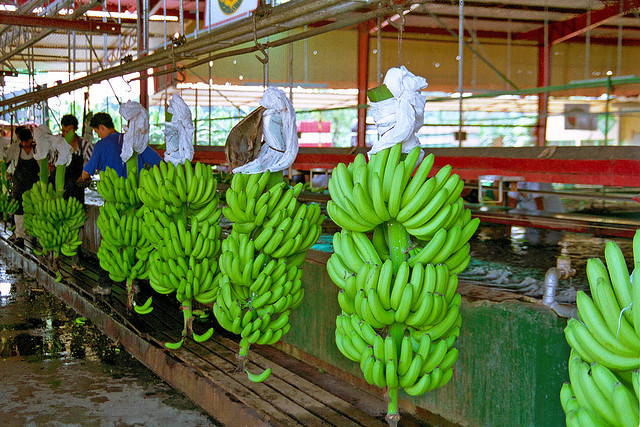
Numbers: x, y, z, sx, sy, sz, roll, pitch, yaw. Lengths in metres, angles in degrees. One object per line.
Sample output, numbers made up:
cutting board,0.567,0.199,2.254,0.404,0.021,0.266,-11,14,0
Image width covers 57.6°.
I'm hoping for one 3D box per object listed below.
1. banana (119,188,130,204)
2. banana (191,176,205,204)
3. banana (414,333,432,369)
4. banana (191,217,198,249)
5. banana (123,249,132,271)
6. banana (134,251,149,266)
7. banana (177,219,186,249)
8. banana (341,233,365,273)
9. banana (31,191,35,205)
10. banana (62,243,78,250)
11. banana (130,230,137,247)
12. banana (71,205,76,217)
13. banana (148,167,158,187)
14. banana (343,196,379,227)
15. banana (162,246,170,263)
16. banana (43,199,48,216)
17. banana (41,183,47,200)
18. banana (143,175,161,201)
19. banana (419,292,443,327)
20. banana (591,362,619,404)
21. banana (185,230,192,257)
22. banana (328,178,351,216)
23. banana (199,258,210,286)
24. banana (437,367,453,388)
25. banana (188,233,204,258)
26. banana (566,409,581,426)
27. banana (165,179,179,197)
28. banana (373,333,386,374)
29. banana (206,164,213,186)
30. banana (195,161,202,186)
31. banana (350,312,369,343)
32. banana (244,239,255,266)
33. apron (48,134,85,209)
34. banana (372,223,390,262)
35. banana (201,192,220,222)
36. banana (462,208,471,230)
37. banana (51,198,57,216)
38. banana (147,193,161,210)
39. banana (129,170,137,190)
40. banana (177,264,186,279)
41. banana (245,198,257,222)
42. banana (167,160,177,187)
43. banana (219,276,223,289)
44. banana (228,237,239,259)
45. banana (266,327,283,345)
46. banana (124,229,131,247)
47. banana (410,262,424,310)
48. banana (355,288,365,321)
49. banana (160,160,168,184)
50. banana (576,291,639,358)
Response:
banana,-2.182,-0.178,6.463,0.050,0.227,0.079,-12,32,7
banana,-1.191,-0.224,5.764,0.067,0.330,0.114,14,5,-23
banana,0.744,0.985,4.197,0.092,0.271,0.076,-6,33,-12
banana,-1.201,0.176,5.657,0.053,0.257,0.081,2,-7,2
banana,-2.137,0.518,6.442,0.057,0.221,0.059,-17,0,35
banana,-1.981,0.495,6.483,0.141,0.151,0.056,-1,9,-10
banana,-1.345,0.205,5.663,0.057,0.285,0.071,-7,-12,-26
banana,0.227,0.298,4.336,0.124,0.356,0.094,-15,-6,-19
banana,-4.365,-0.239,8.826,0.050,0.197,0.039,-18,-10,20
banana,-3.582,0.481,8.333,0.190,0.103,0.170,-4,9,-28
banana,-2.051,0.282,6.401,0.054,0.195,0.059,6,15,-3
banana,-3.497,-0.039,8.237,0.050,0.154,0.040,-11,42,-22
banana,-1.715,-0.378,5.925,0.051,0.203,0.071,-16,-12,-14
banana,0.307,-0.017,4.265,0.074,0.210,0.048,-33,-3,-40
banana,-1.508,0.394,5.709,0.069,0.189,0.049,-1,3,-31
banana,-3.872,-0.065,8.187,0.082,0.266,0.056,-4,-4,24
banana,-4.019,-0.308,8.467,0.070,0.238,0.063,-5,-24,11
banana,-1.684,-0.254,5.835,0.099,0.274,0.055,-41,12,-28
banana,0.803,0.686,4.197,0.089,0.283,0.092,11,21,-9
banana,1.749,1.020,3.620,0.086,0.288,0.095,-34,-10,16
banana,-1.279,0.298,5.637,0.048,0.243,0.061,-2,3,-22
banana,0.120,-0.139,4.433,0.112,0.325,0.085,-22,4,24
banana,-1.138,0.575,5.710,0.064,0.257,0.081,11,0,-26
banana,0.943,1.217,4.373,0.070,0.206,0.060,16,22,-6
banana,-1.185,0.317,5.643,0.102,0.300,0.062,17,1,34
banana,1.576,1.280,3.651,0.032,0.096,0.055,3,-9,-24
banana,-1.483,-0.238,5.689,0.240,0.063,0.079,48,0,25
banana,0.415,1.004,4.170,0.063,0.242,0.081,-8,-4,4
banana,-1.124,-0.397,5.912,0.048,0.190,0.061,0,-6,-22
banana,-1.199,-0.399,5.749,0.047,0.181,0.059,-5,-7,13
banana,0.288,0.814,4.284,0.085,0.269,0.067,-13,7,14
banana,-0.612,0.341,5.000,0.055,0.208,0.067,15,7,36
apron,-3.930,-0.687,8.621,0.508,1.076,0.393,15,7,-42
banana,0.461,0.228,4.475,0.132,0.385,0.081,-5,-1,-14
banana,-1.119,-0.026,5.960,0.122,0.368,0.070,18,-2,-27
banana,1.107,0.051,4.384,0.043,0.161,0.051,17,-12,-17
banana,-3.712,-0.089,8.076,0.051,0.199,0.058,-17,-4,33
banana,-1.674,-0.125,5.857,0.036,0.164,0.057,-16,25,25
banana,-2.094,-0.370,6.510,0.060,0.223,0.074,-4,-34,-18
banana,-1.351,0.562,5.660,0.042,0.147,0.045,-24,0,-2
banana,-0.599,-0.018,4.990,0.078,0.225,0.056,-25,50,-40
banana,-1.467,-0.428,5.808,0.072,0.361,0.096,-7,6,-6
banana,-0.879,0.615,5.183,0.018,0.098,0.088,-1,9,-12
banana,-0.761,0.302,5.115,0.052,0.201,0.065,-10,-5,10
banana,-0.418,1.121,5.334,0.065,0.220,0.076,24,14,-20
banana,-2.121,0.277,6.401,0.066,0.209,0.083,-2,9,-14
banana,0.665,0.524,4.126,0.074,0.311,0.101,8,-6,-10
banana,0.284,0.655,4.198,0.057,0.203,0.090,-1,9,-11
banana,-1.569,-0.411,5.815,0.055,0.242,0.079,-3,-6,-21
banana,1.794,0.687,3.600,0.143,0.429,0.087,-27,-13,-22
